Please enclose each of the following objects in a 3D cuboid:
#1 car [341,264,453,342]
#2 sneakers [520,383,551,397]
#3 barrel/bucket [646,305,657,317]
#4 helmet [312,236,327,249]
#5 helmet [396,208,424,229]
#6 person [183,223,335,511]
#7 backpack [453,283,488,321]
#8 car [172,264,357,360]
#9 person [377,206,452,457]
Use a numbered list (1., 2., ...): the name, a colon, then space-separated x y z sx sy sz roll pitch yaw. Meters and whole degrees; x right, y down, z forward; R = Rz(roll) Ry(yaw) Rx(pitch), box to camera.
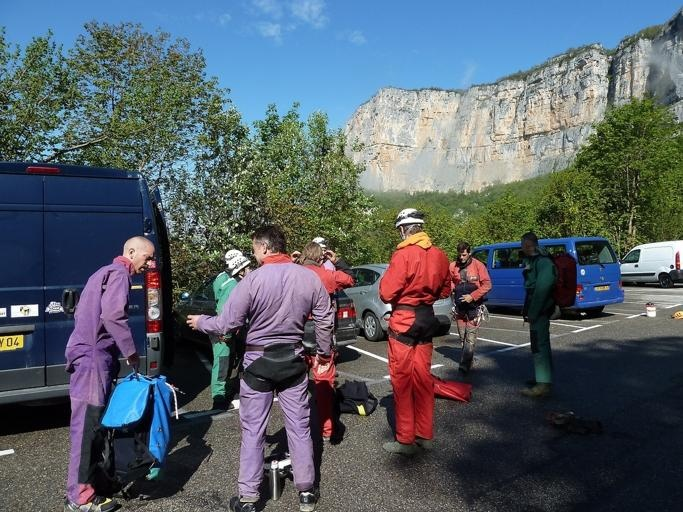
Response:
1. car: 1.077 0.985 12.343 1.323 1.224 2.461 -1 4 -25
2. sneakers: 2.732 1.870 7.857 0.383 0.289 0.157 2 -4 8
3. barrel/bucket: 8.124 1.429 14.456 0.311 0.356 0.322 1 -8 0
4. helmet: -0.296 -0.199 8.278 0.147 0.119 0.237 1 -8 -4
5. helmet: 0.853 -0.460 6.730 0.282 0.239 0.221 -16 -6 22
6. person: -0.705 1.081 5.602 1.262 2.745 0.801 -1 6 -1
7. backpack: 2.030 0.718 9.130 0.469 0.660 0.359 -1 -19 29
8. car: -1.686 0.947 10.706 3.248 1.160 1.588 3 3 42
9. person: 0.834 0.842 6.494 0.584 2.740 0.795 4 8 36
